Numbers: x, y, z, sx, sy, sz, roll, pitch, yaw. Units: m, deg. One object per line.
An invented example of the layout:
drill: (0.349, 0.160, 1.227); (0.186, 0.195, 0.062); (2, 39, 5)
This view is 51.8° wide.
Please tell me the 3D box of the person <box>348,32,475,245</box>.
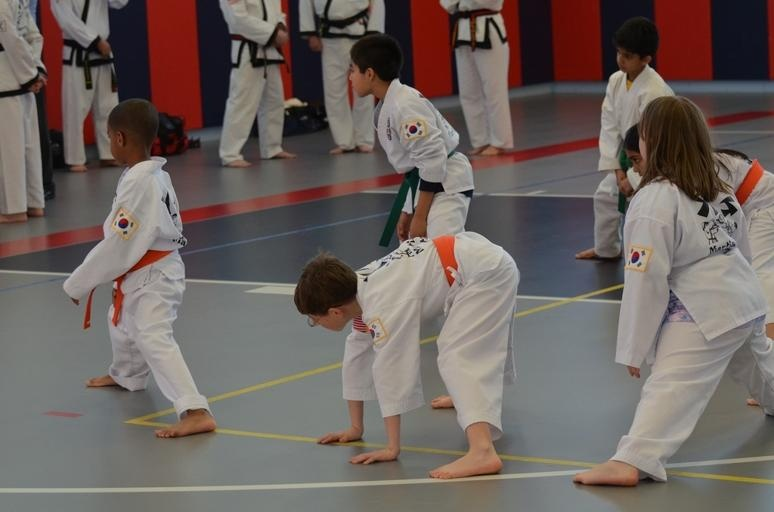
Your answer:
person: (0.129, -0.589, 4.088); (0.611, 1.094, 0.390); (0, 9, 5)

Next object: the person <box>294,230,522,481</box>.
person: (0.074, 0.361, 3.089); (0.861, 0.794, 0.838); (-3, 3, 13)

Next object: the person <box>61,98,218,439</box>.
person: (-1.116, 0.004, 3.471); (0.549, 1.359, 0.897); (-5, 10, -22)
